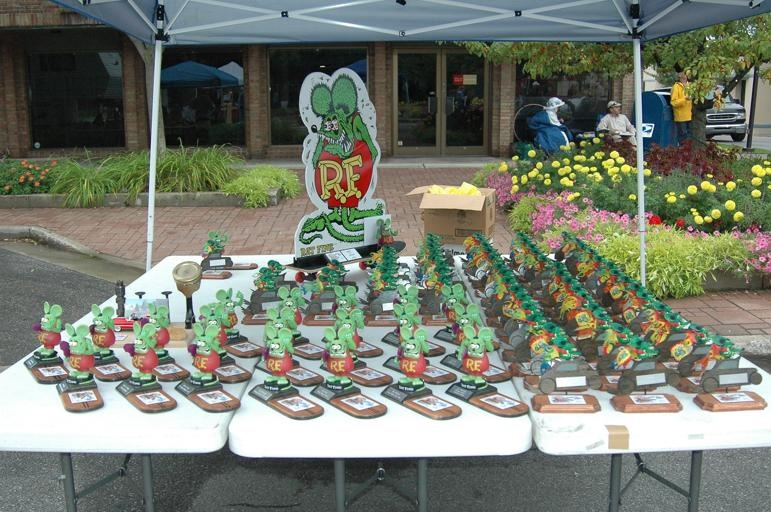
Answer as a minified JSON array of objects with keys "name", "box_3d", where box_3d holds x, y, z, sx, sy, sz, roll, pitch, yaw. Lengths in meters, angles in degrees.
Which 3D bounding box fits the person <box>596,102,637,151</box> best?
[{"name":"person","box_3d":[4.594,-2.662,12.240,0.703,0.798,1.420,1,15,19]}]

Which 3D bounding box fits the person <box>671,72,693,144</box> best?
[{"name":"person","box_3d":[5.967,-2.977,12.367,0.394,1.499,1.968,3,16,26]}]

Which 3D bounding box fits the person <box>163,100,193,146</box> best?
[{"name":"person","box_3d":[-5.959,-3.856,17.730,0.954,1.298,0.256,-3,14,3]}]

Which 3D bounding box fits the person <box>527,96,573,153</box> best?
[{"name":"person","box_3d":[3.394,-2.701,12.741,0.807,1.096,1.617,0,15,13]}]

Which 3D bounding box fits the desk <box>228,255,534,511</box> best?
[{"name":"desk","box_3d":[-0.042,0.795,3.049,1.167,0.364,1.631,-1,15,-1]}]

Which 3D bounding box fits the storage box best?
[{"name":"storage box","box_3d":[0.581,-0.334,5.350,0.728,0.441,0.604,1,13,11]}]
